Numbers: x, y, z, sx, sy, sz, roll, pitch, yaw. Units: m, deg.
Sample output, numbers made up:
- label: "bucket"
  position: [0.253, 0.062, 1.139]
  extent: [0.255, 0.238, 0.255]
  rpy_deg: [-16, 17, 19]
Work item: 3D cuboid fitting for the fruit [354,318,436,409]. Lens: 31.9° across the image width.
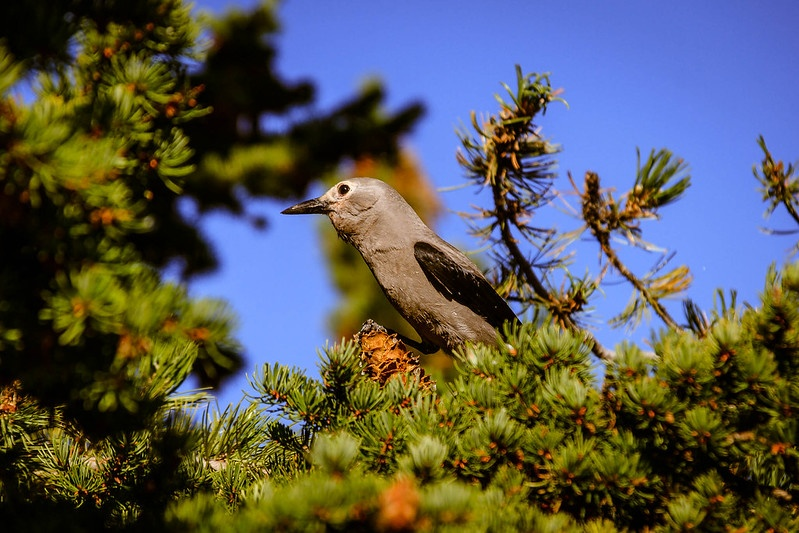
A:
- label: "fruit"
  position: [-0.038, 0.410, 6.505]
  extent: [0.414, 0.226, 0.238]
  rpy_deg: [43, -55, 19]
